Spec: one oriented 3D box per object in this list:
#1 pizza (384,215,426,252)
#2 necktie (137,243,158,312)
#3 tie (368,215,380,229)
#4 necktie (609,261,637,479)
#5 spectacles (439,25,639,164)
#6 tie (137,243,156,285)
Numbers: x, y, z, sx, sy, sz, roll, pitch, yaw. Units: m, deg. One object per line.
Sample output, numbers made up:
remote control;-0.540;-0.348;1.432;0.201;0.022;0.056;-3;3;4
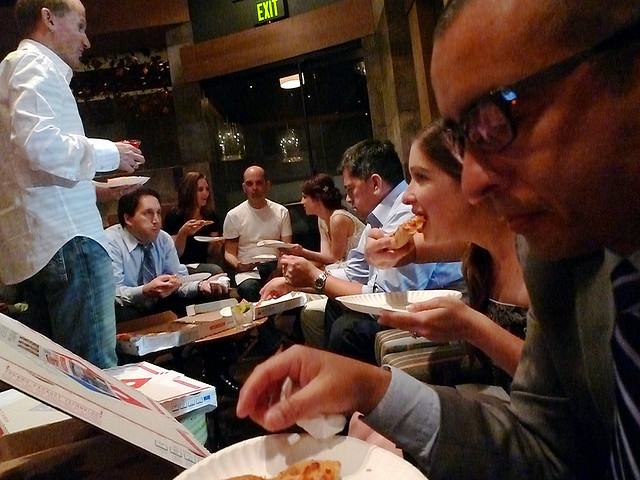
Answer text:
pizza;0.213;-0.009;1.331;0.091;0.037;0.090;-46;3;-22
necktie;-0.749;0.186;2.326;0.078;0.196;0.263;3;50;-13
tie;0.172;-0.054;1.662;0.036;0.037;0.034;0;4;14
necktie;0.276;0.124;0.478;0.024;0.210;0.022;1;10;41
spectacles;0.191;-0.112;0.484;0.103;0.035;0.105;-31;3;5
tie;-0.744;0.098;2.271;0.073;0.220;0.029;-18;43;-34
